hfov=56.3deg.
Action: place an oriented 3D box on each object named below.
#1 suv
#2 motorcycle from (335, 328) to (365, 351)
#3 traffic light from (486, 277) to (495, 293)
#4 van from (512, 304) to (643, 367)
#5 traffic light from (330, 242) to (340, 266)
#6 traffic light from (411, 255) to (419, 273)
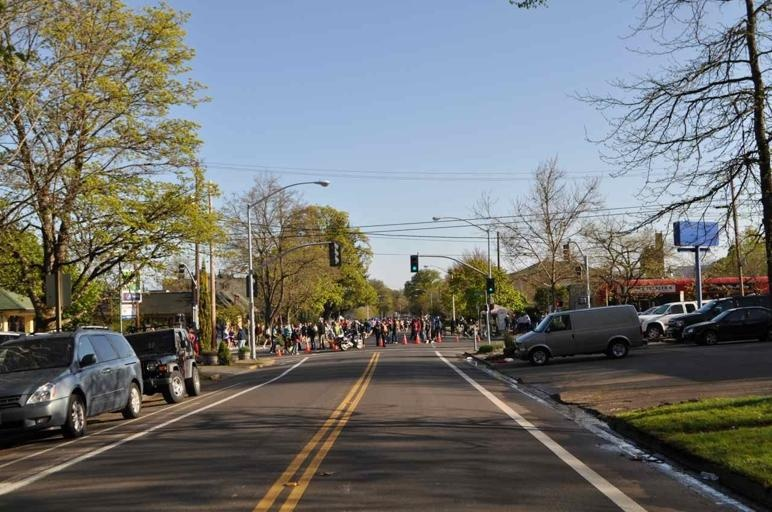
[{"bbox_3d":[-7.163,3.515,23.308,1.598,1.413,2.558,-4,-13,7],"label":"suv"},{"bbox_3d":[-2.593,6.401,54.155,1.005,1.140,2.076,-2,1,44],"label":"motorcycle"},{"bbox_3d":[6.287,1.749,43.815,0.477,0.966,0.806,-5,-7,0],"label":"traffic light"},{"bbox_3d":[8.079,3.376,30.701,4.756,2.008,2.345,-1,-6,2],"label":"van"},{"bbox_3d":[-2.882,-0.222,40.242,0.565,1.242,1.181,-4,-8,-8],"label":"traffic light"},{"bbox_3d":[1.796,0.503,46.046,0.387,0.970,1.083,-6,-8,9],"label":"traffic light"}]
